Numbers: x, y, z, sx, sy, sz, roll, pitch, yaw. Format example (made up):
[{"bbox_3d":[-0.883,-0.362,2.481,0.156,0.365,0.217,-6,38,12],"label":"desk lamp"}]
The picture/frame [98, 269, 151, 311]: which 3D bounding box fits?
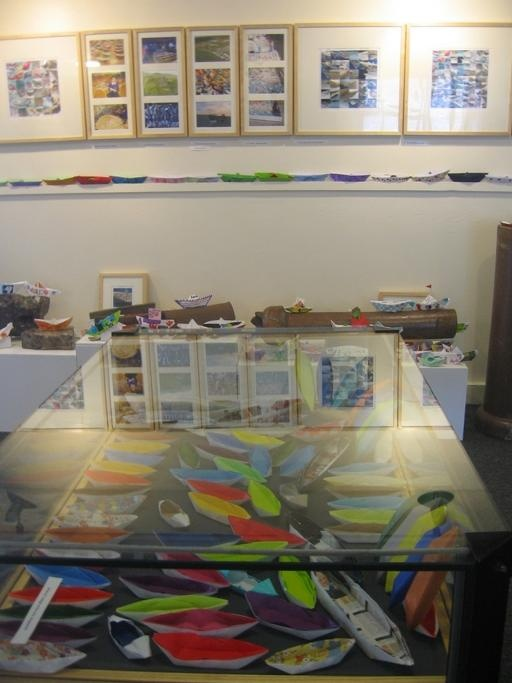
[{"bbox_3d":[-0.882,-0.358,3.645,0.378,0.279,0.027,1,-1,3],"label":"picture/frame"}]
